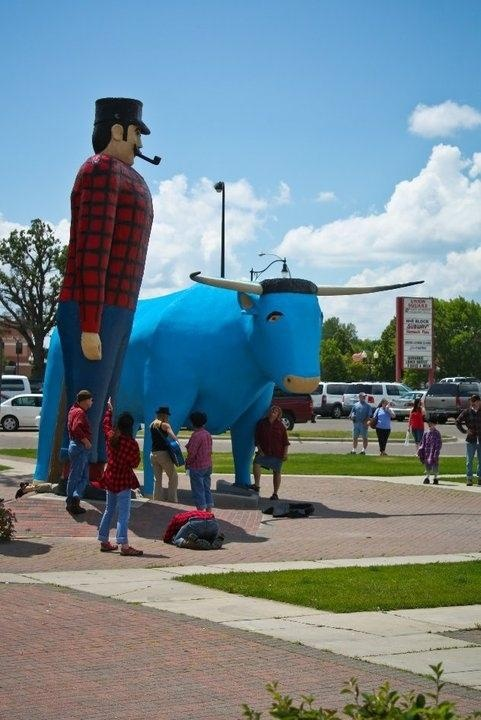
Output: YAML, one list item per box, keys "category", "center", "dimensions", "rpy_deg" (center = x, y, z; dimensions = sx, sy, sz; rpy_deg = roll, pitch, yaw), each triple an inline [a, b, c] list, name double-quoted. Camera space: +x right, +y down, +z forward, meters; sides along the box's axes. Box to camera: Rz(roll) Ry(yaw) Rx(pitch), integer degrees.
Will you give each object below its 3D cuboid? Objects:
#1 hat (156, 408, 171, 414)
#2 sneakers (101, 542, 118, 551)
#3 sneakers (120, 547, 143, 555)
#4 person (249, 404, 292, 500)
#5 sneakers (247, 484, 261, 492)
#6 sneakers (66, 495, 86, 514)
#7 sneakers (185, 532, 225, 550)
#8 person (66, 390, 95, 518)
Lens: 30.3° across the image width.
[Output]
- category: "hat"
  center: [-1.103, 0.721, 12.726]
  dimensions: [0.126, 0.072, 0.148]
  rpy_deg: [5, -3, -6]
- category: "sneakers"
  center: [-1.372, 1.958, 9.335]
  dimensions: [0.190, 0.129, 0.087]
  rpy_deg: [0, 3, -12]
- category: "sneakers"
  center: [-1.119, 1.951, 9.096]
  dimensions: [0.248, 0.114, 0.097]
  rpy_deg: [4, 4, -14]
- category: "person"
  center: [0.480, 1.519, 14.534]
  dimensions: [0.544, 1.512, 0.923]
  rpy_deg: [1, -5, 1]
- category: "sneakers"
  center: [0.236, 2.170, 15.059]
  dimensions: [0.086, 0.095, 0.237]
  rpy_deg: [1, 4, -16]
- category: "sneakers"
  center: [-2.111, 1.860, 11.292]
  dimensions: [0.133, 0.312, 0.293]
  rpy_deg: [-2, 2, 29]
- category: "sneakers"
  center: [-0.373, 1.992, 9.758]
  dimensions: [0.464, 0.172, 0.250]
  rpy_deg: [3, -6, -24]
- category: "person"
  center: [-2.070, 1.185, 11.318]
  dimensions: [0.281, 1.585, 0.618]
  rpy_deg: [2, -5, -11]
